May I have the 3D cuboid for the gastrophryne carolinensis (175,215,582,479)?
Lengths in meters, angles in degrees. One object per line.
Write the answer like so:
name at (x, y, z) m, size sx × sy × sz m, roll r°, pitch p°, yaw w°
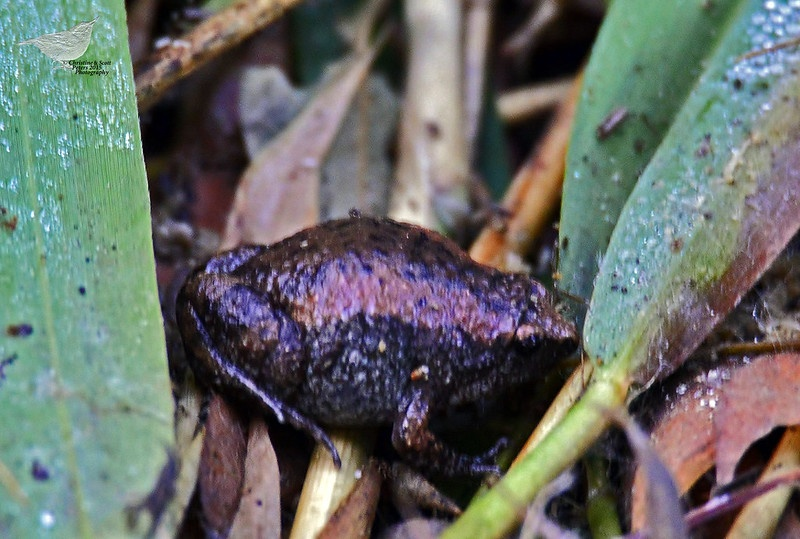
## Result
gastrophryne carolinensis at (-0.033, 0.068, 0.956) m, size 0.326 × 0.176 × 0.303 m, roll 12°, pitch 45°, yaw -9°
